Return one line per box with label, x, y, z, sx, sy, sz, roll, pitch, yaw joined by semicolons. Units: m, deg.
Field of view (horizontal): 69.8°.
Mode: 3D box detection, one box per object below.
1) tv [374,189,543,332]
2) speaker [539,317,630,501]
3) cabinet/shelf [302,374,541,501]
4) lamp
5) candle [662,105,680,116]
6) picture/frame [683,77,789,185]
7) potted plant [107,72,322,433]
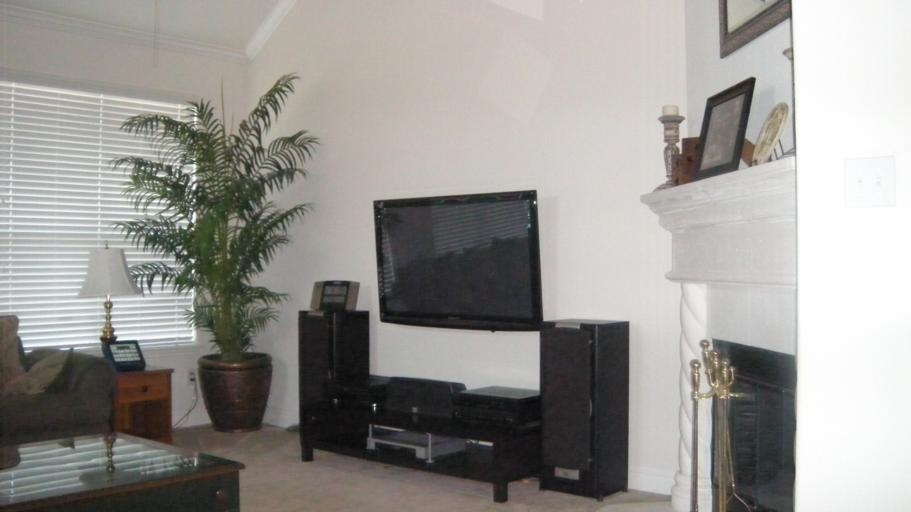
tv;0.052;0.030;4.176;1.034;0.703;0.114;-1;1;26
speaker;0.756;0.885;3.839;0.532;0.998;0.322;2;6;6
cabinet/shelf;-0.234;1.092;4.167;1.556;0.632;0.350;4;6;26
lamp;-1.565;0.155;2.911;0.160;0.402;0.389;0;6;-14
candle;1.164;-0.780;3.537;0.081;0.062;0.118;3;5;16
picture/frame;1.345;-0.581;3.097;0.090;0.682;0.641;14;-14;-13
potted plant;-1.670;0.044;4.637;1.543;2.373;1.262;-2;6;-22
